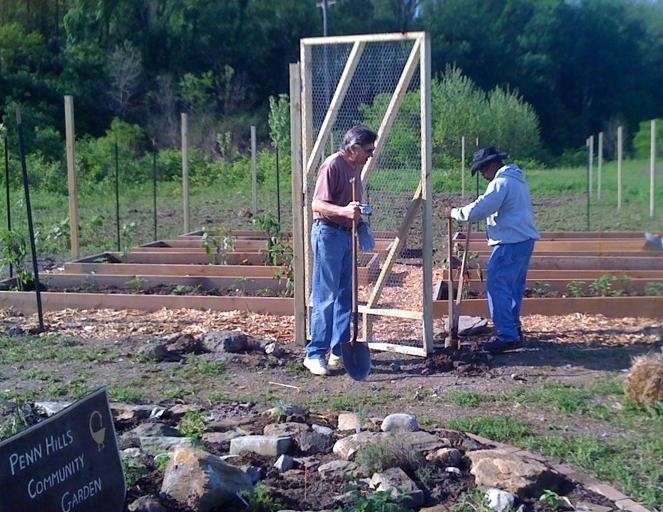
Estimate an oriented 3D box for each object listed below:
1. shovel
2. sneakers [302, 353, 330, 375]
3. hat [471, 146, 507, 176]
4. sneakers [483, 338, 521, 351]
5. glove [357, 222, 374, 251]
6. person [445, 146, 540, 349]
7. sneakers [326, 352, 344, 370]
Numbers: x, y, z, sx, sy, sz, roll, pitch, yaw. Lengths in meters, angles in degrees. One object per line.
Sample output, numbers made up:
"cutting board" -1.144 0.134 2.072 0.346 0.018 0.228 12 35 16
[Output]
"shovel" 0.273 0.259 9.749 0.324 2.313 0.469 -1 6 2
"sneakers" -0.177 1.263 10.020 0.336 0.177 0.139 9 12 39
"hat" 1.925 -1.228 10.534 0.422 0.187 0.378 -38 -4 12
"sneakers" 2.094 1.069 10.390 0.444 0.231 0.182 -4 3 1
"glove" 0.366 -0.240 9.823 0.182 0.344 0.082 -3 4 -18
"person" 2.097 -0.115 10.452 0.852 2.463 0.986 3 7 34
"sneakers" 0.030 1.242 10.140 0.185 0.222 0.144 -7 -8 -19
